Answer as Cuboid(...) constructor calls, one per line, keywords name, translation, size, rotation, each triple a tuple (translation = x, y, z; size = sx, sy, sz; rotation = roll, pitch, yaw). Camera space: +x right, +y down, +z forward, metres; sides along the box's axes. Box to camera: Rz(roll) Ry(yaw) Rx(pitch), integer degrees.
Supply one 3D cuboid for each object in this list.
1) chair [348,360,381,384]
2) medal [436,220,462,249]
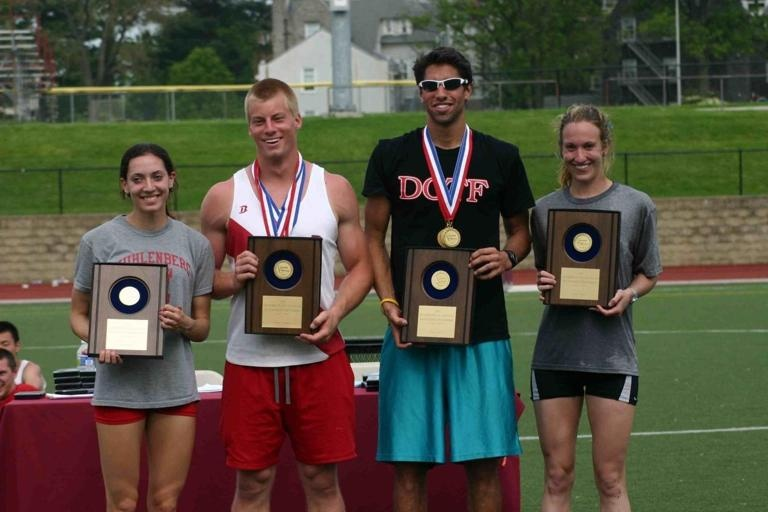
Cuboid(name="chair", translation=(-0.226, 1.528, 16.231), size=(0.468, 0.314, 0.249), rotation=(0, -1, -4))
Cuboid(name="medal", translation=(0.799, -0.263, 14.899), size=(0.334, 0.448, 0.173), rotation=(0, -2, -2))
